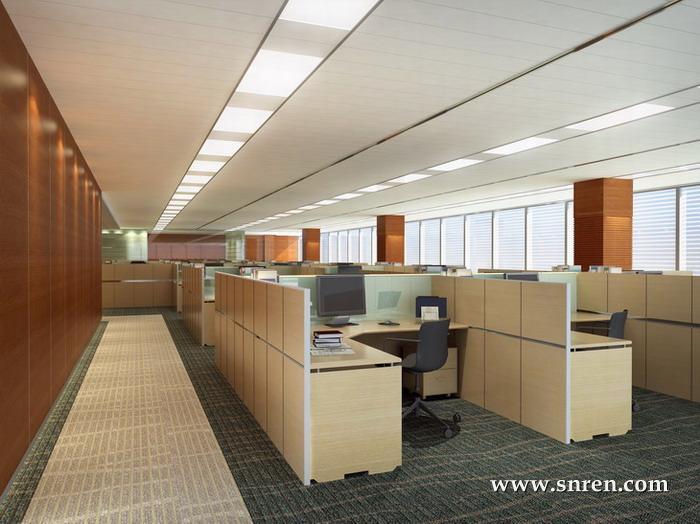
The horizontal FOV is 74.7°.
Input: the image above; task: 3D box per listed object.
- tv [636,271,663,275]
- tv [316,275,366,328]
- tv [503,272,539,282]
[{"bbox_3d":[4.456,0.159,6.861,0.312,0.023,0.966,2,4,30],"label":"tv"},{"bbox_3d":[-0.126,0.484,5.627,0.787,0.582,0.234,1,-7,-25],"label":"tv"},{"bbox_3d":[2.399,0.221,6.434,0.342,0.162,0.300,1,-4,-12],"label":"tv"}]
